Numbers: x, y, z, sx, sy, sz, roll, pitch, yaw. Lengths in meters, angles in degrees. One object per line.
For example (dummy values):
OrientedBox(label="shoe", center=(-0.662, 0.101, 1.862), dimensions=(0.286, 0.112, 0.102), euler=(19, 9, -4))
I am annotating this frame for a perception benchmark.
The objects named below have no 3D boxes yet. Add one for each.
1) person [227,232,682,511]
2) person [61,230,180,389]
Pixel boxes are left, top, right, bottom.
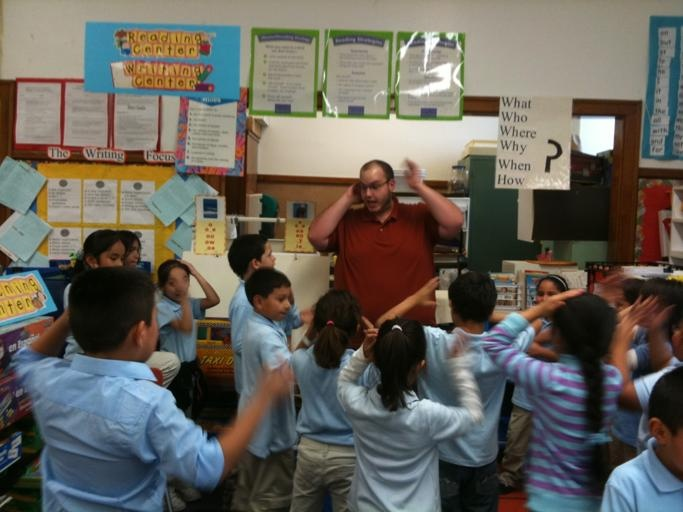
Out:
OrientedBox(label="person", center=(0.447, 0.517, 2.721), dimensions=(1.403, 1.053, 0.342), euler=(0, -19, -1))
OrientedBox(label="person", center=(-1.146, 0.414, 3.321), dimensions=(0.550, 1.095, 0.422), euler=(-1, -7, -18))
